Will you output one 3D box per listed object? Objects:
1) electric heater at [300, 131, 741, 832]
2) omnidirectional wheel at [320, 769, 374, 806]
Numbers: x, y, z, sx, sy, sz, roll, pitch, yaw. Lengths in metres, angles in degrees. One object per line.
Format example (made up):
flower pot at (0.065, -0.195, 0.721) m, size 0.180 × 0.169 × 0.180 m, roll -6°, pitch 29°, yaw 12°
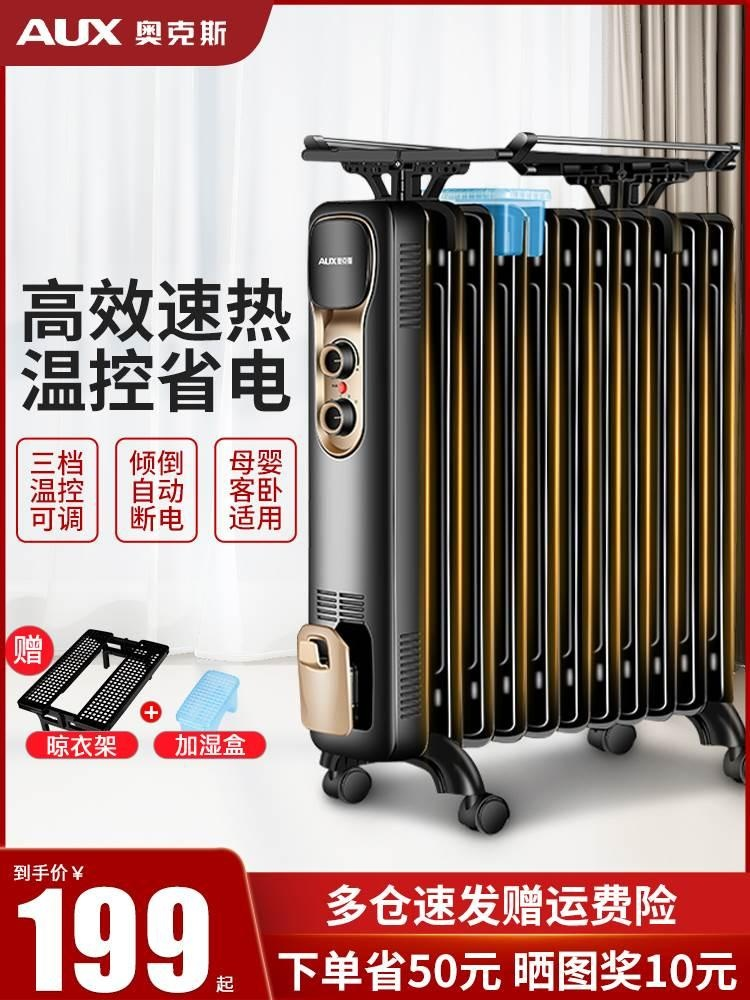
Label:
electric heater at (0.243, -0.040, 1.615) m, size 0.786 × 0.990 × 0.258 m, roll -3°, pitch 7°, yaw -28°
omnidirectional wheel at (-0.041, 0.429, 1.620) m, size 0.043 × 0.033 × 0.059 m, roll 4°, pitch -43°, yaw 25°
